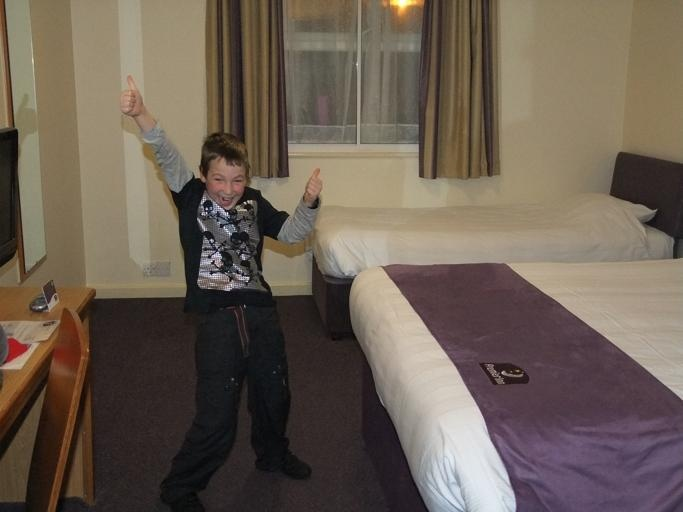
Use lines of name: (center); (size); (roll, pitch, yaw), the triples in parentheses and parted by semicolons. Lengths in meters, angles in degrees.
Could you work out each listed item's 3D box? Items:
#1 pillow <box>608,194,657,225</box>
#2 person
pillow: (2.272, -0.348, 4.177); (0.231, 0.076, 0.233); (-13, 29, -30)
person: (-0.500, 0.188, 2.446); (0.814, 1.853, 0.408); (-9, 15, -22)
